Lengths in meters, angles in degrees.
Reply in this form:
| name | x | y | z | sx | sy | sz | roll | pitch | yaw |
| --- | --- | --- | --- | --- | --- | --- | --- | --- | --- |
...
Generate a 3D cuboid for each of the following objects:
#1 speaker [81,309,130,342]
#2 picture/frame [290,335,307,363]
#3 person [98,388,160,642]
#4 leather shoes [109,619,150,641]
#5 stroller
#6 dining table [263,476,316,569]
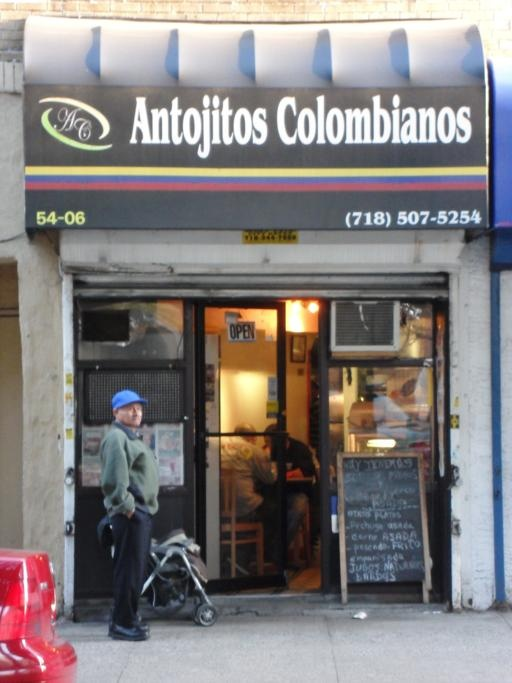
| name | x | y | z | sx | sy | sz | roll | pitch | yaw |
| --- | --- | --- | --- | --- | --- | --- | --- | --- | --- |
| speaker | -1.203 | -0.125 | 10.380 | 0.372 | 0.247 | 0.061 | -1 | -6 | 2 |
| picture/frame | 0.401 | 0.062 | 12.267 | 0.019 | 0.238 | 0.192 | 1 | 10 | 32 |
| person | -0.922 | 1.251 | 9.231 | 0.326 | 1.797 | 0.547 | -2 | -6 | 13 |
| leather shoes | -0.905 | 2.093 | 9.320 | 0.282 | 0.168 | 0.118 | -3 | -6 | 9 |
| stroller | -0.753 | 1.900 | 9.832 | 0.751 | 0.950 | 0.775 | 10 | 1 | -18 |
| dining table | 0.301 | 1.540 | 11.315 | 0.627 | 1.177 | 0.536 | 0 | -5 | -6 |
